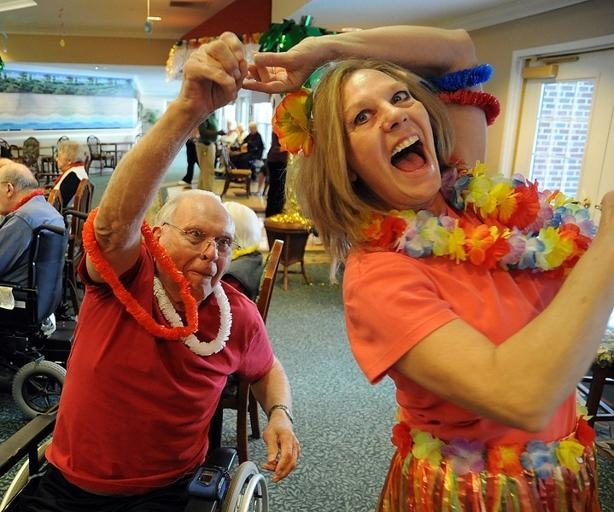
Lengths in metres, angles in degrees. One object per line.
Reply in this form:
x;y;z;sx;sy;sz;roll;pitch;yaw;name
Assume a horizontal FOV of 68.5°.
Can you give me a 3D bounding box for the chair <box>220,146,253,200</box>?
-1.517;-1.813;9.773;0.811;0.995;0.812;8;12;35;chair
